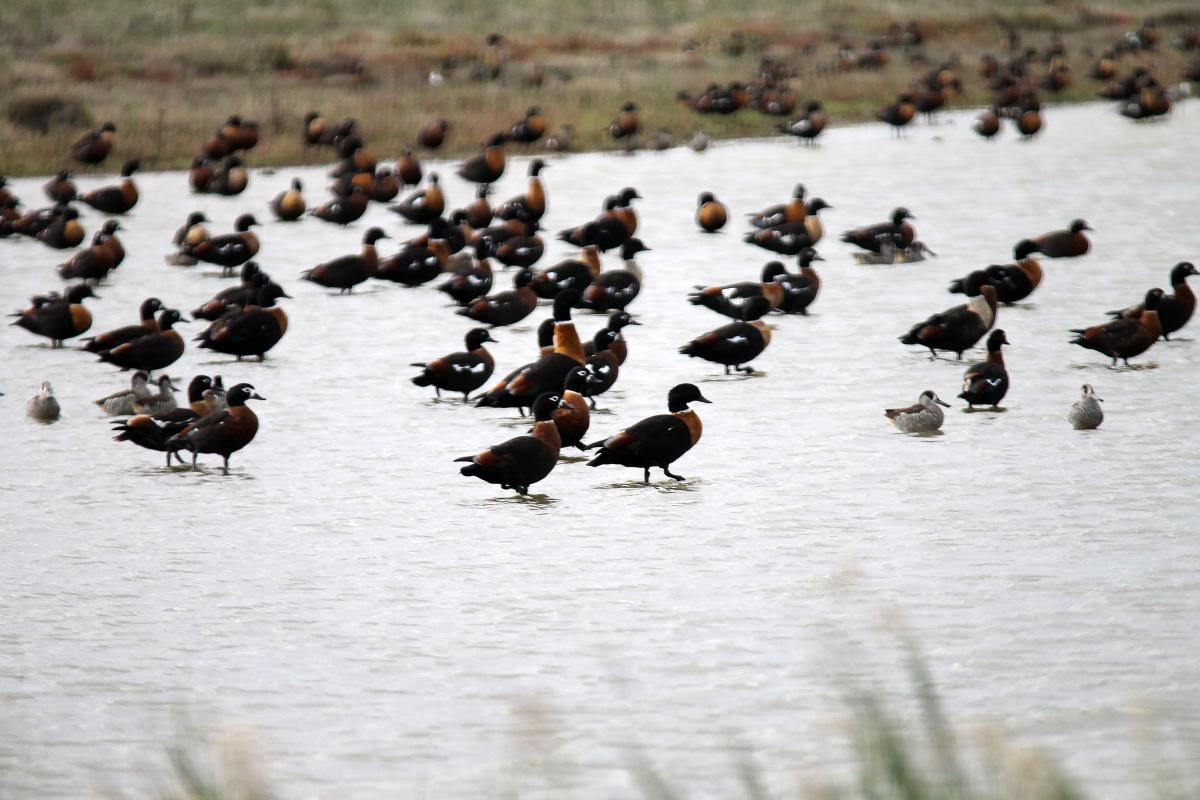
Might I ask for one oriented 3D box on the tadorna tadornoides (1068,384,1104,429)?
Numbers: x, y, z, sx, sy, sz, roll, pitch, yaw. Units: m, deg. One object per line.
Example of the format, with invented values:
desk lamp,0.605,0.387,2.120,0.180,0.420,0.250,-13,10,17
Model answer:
tadorna tadornoides,6.973,0.097,27.892,0.537,0.324,0.597,4,89,21
